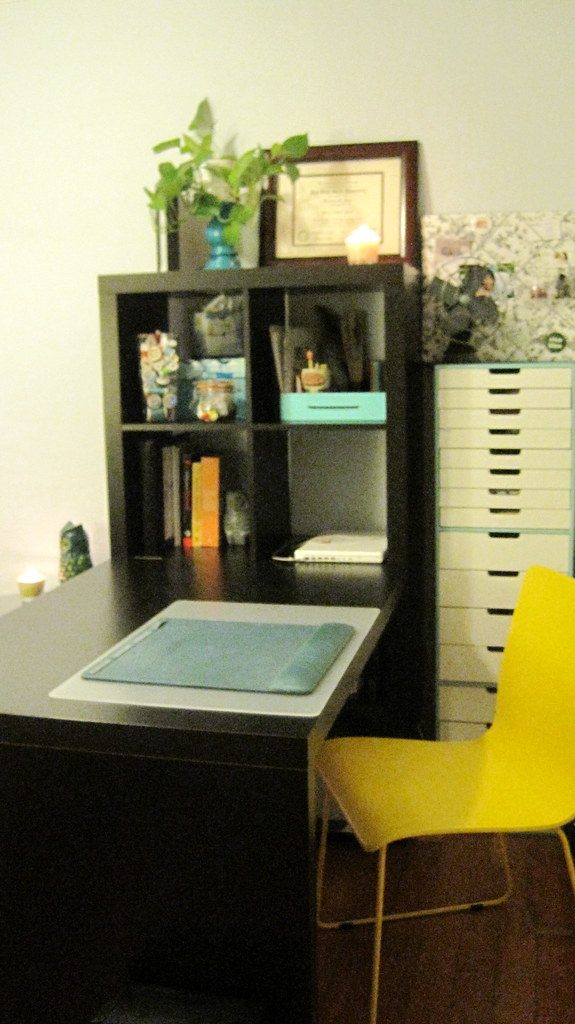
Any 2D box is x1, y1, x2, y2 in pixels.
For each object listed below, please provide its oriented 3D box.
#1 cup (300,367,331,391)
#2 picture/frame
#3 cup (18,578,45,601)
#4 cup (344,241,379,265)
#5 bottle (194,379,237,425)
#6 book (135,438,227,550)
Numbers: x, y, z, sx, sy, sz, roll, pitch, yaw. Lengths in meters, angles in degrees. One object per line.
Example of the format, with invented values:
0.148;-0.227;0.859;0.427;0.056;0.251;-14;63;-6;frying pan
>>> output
0.068;-0.326;2.159;0.061;0.065;0.061;-1;8;0;cup
0.147;-0.811;2.296;0.423;0.324;0.035;0;2;15;picture/frame
-0.747;0.222;2.525;0.072;0.058;0.077;-1;10;0;cup
0.180;-0.624;2.115;0.062;0.054;0.081;-5;10;-21;cup
-0.192;-0.286;2.275;0.102;0.106;0.105;-2;7;-15;bottle
-0.290;-0.035;2.329;0.238;0.341;0.337;0;8;9;book
